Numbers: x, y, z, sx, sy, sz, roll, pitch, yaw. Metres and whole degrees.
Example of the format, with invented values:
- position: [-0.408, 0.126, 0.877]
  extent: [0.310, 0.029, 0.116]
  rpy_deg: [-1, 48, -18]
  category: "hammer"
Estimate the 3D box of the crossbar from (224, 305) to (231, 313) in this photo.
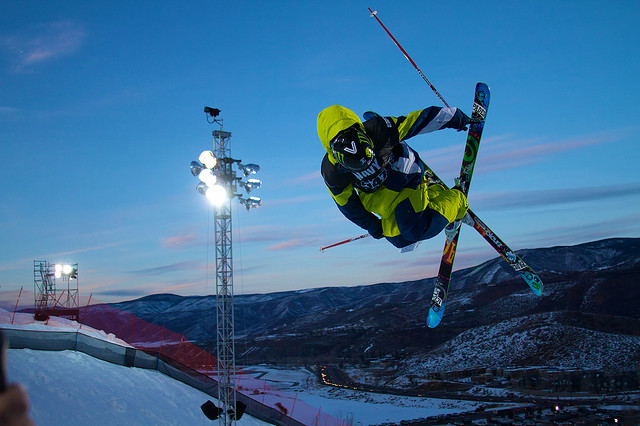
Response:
- position: [-8.439, 8.645, 50.497]
  extent: [0.397, 0.512, 1.013]
  rpy_deg: [-10, -2, 8]
  category: "crossbar"
